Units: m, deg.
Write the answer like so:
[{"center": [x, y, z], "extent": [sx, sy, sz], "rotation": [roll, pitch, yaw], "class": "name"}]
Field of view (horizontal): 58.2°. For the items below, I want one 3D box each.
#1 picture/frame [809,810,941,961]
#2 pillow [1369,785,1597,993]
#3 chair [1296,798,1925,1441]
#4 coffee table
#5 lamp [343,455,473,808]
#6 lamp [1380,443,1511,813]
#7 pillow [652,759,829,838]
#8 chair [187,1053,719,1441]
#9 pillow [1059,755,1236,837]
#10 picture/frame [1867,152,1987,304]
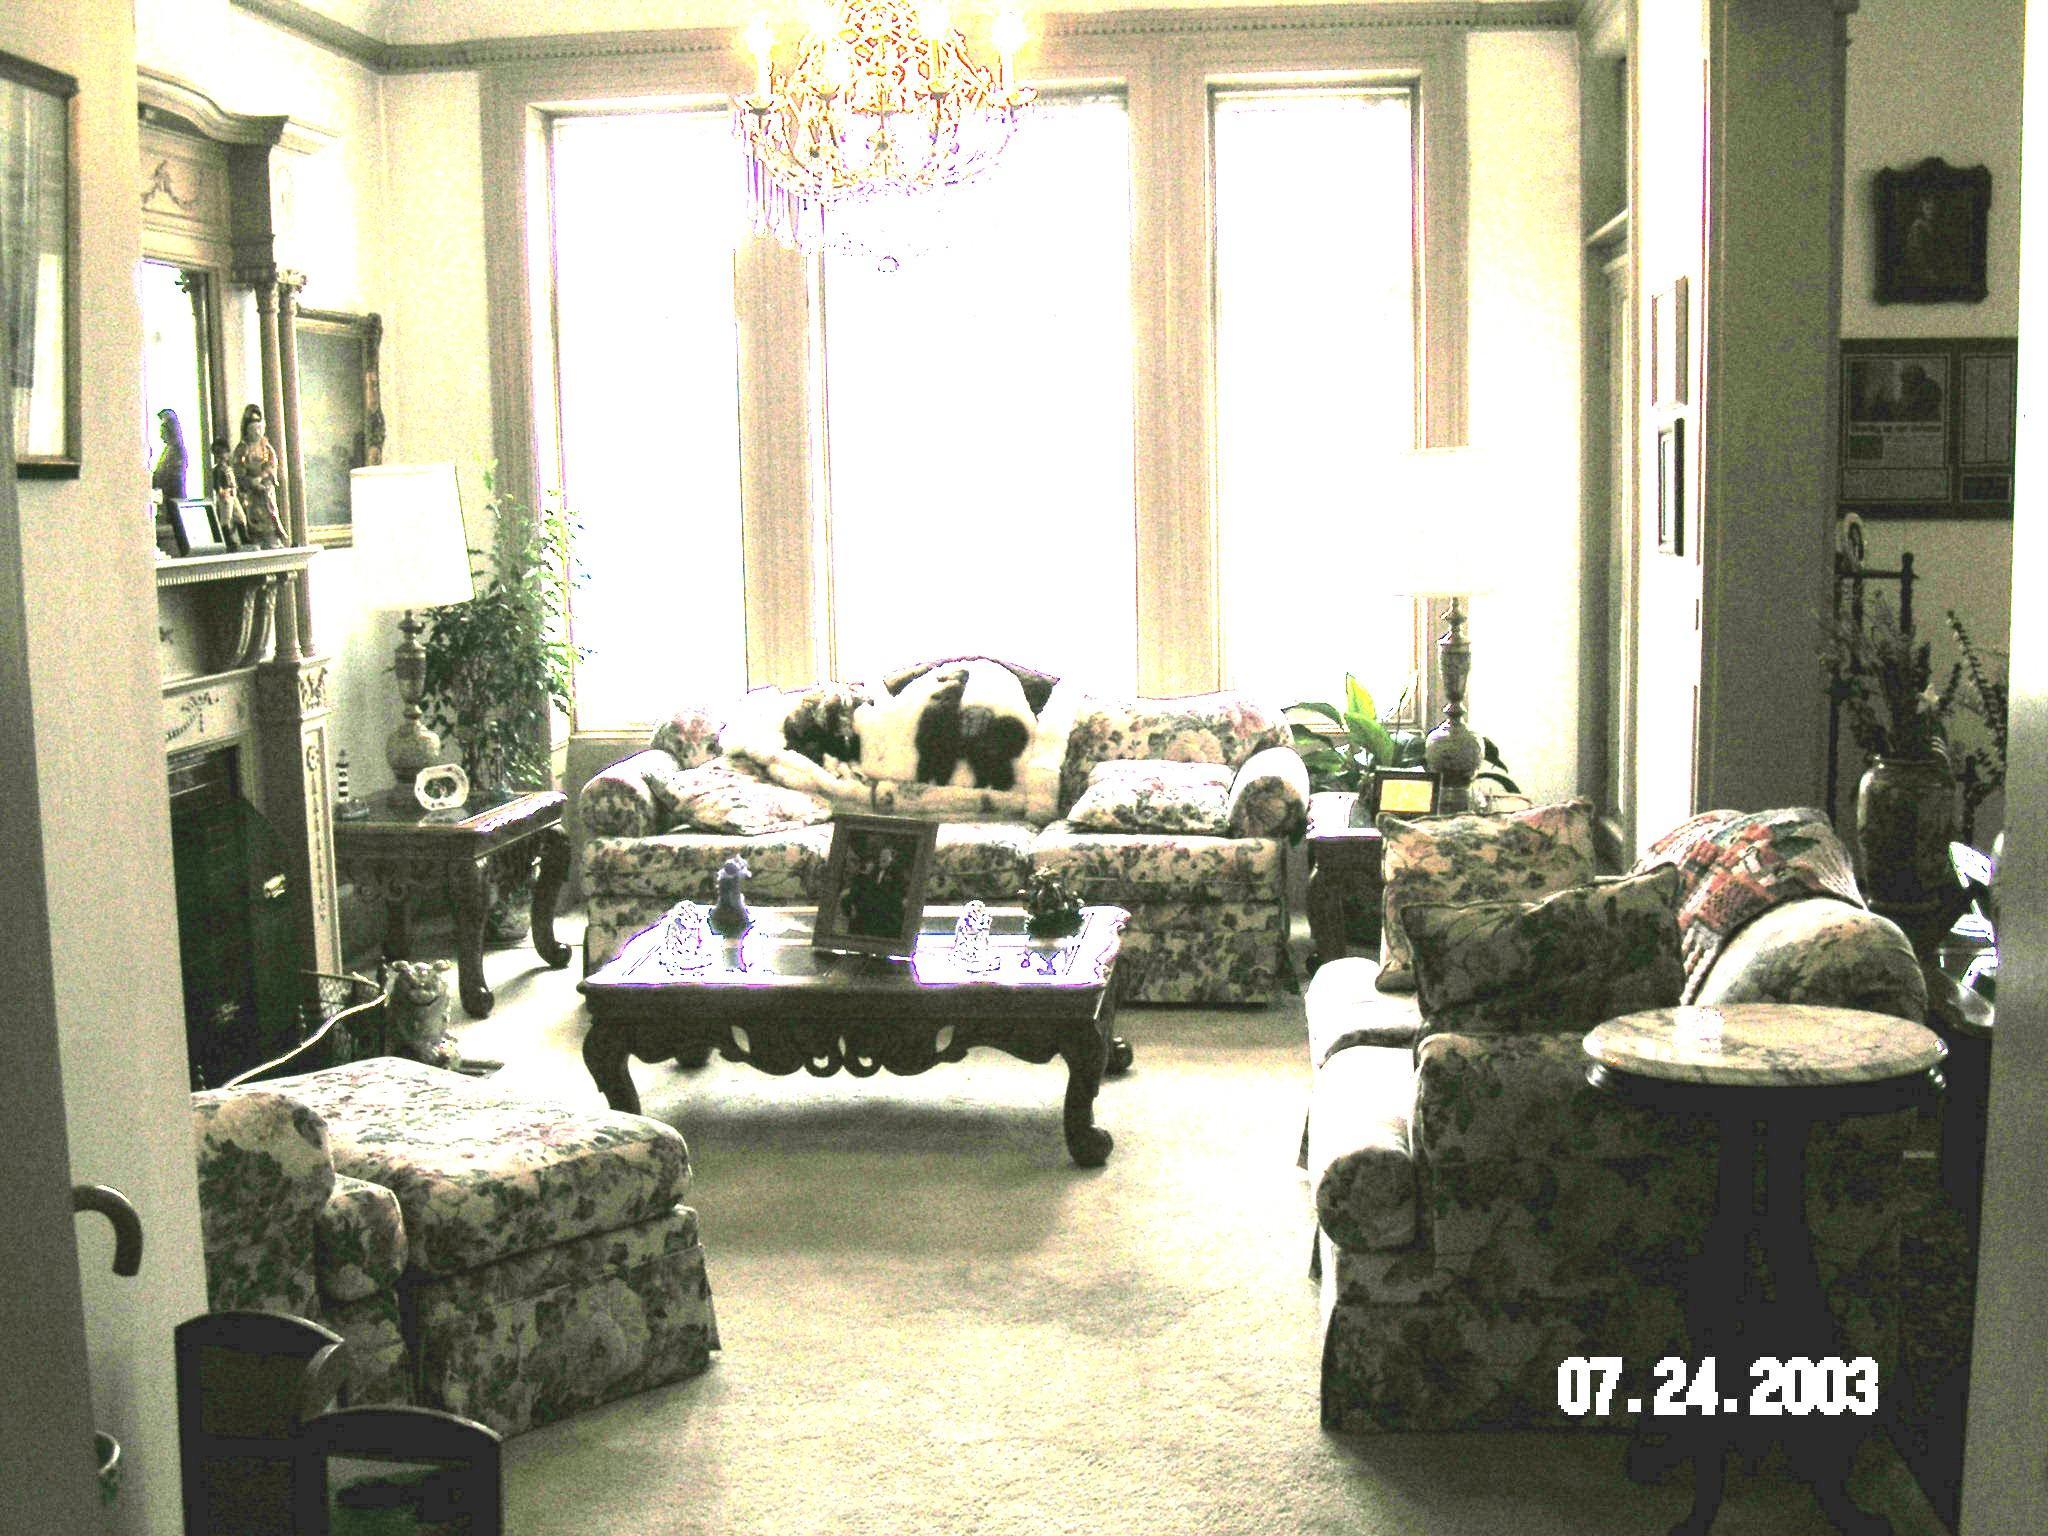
[{"center": [-0.374, 0.305, 4.569], "extent": [0.324, 0.402, 0.027], "rotation": [2, -18, 20], "class": "picture/frame"}, {"center": [0.976, 0.189, 3.988], "extent": [0.459, 0.215, 0.469], "rotation": [-3, 49, 10], "class": "pillow"}, {"center": [0.907, 0.635, 2.974], "extent": [0.786, 0.709, 1.412], "rotation": [0, 2, 16], "class": "chair"}, {"center": [-0.389, 0.610, 4.439], "extent": [1.222, 0.530, 0.528], "rotation": [0, 9, 7], "class": "coffee table"}, {"center": [-1.956, -0.483, 5.876], "extent": [0.326, 0.967, 0.721], "rotation": [-4, 9, -19], "class": "lamp"}, {"center": [1.311, -0.446, 5.686], "extent": [0.315, 1.086, 1.023], "rotation": [1, 9, 15], "class": "lamp"}, {"center": [-0.913, 0.116, 5.858], "extent": [0.293, 0.090, 0.298], "rotation": [8, 14, 3], "class": "pillow"}, {"center": [-0.934, 0.786, 3.012], "extent": [0.672, 0.431, 0.691], "rotation": [2, 5, 24], "class": "chair"}, {"center": [0.405, 0.089, 5.829], "extent": [0.510, 0.180, 0.473], "rotation": [0, 8, 7], "class": "pillow"}, {"center": [2.077, -1.230, 4.209], "extent": [0.337, 0.439, 0.048], "rotation": [0, 5, 4], "class": "picture/frame"}]
